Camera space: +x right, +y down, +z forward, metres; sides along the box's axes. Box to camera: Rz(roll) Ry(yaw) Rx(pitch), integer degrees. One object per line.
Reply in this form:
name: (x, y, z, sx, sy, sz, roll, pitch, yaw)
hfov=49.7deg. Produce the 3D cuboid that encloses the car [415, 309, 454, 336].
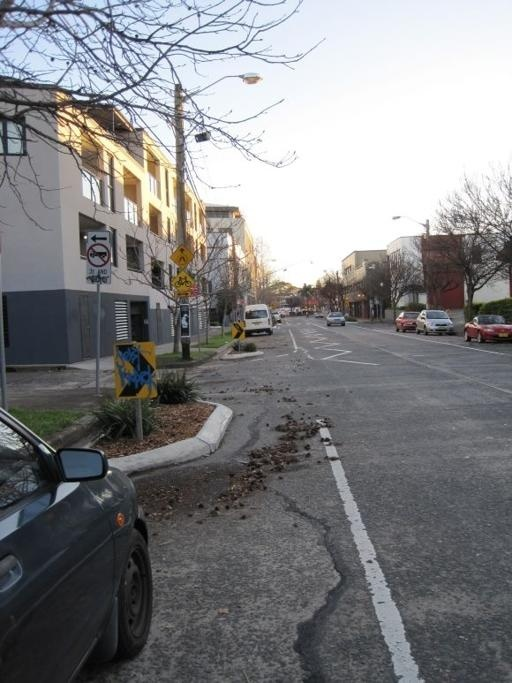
car: (12.354, -1.355, 38.185, 1.568, 1.595, 3.099, -4, 2, -1)

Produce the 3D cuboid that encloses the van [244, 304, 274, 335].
van: (0.168, -1.777, 45.511, 1.513, 1.744, 2.992, -2, 7, 3)
